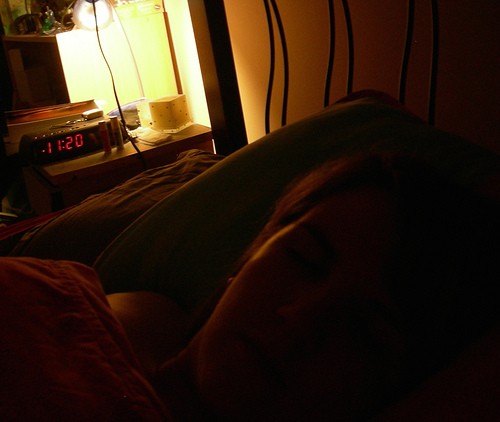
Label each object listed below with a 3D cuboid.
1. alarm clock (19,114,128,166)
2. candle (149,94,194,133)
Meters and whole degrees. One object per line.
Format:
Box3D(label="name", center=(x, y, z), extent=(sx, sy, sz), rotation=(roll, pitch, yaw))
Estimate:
Box3D(label="alarm clock", center=(-0.767, -0.321, 1.705), extent=(0.427, 0.117, 0.315), rotation=(-23, 29, -28))
Box3D(label="candle", center=(-0.378, -0.461, 1.833), extent=(0.166, 0.138, 0.178), rotation=(-10, 25, -6))
